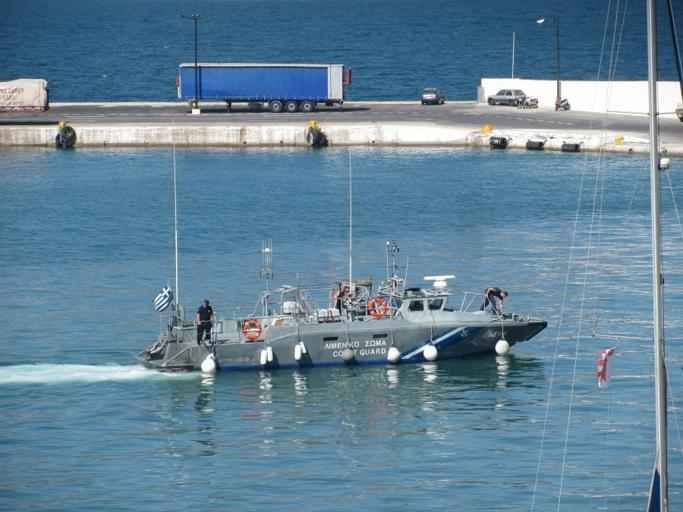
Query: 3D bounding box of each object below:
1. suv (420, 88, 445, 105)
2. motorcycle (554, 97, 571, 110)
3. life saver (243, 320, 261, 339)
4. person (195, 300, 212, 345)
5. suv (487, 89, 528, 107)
[{"bbox_3d":[8.860,-15.585,188.062,1.275,0.998,2.459,2,11,15],"label":"suv"},{"bbox_3d":[20.475,-14.154,180.216,1.427,0.790,0.864,-3,-2,-26],"label":"motorcycle"},{"bbox_3d":[-5.791,4.826,122.938,1.249,1.353,0.733,-2,1,4],"label":"life saver"},{"bbox_3d":[-8.758,4.342,122.577,0.977,2.796,1.056,-2,2,1],"label":"person"},{"bbox_3d":[15.649,-15.167,184.081,3.083,1.206,1.649,8,12,31],"label":"suv"}]
